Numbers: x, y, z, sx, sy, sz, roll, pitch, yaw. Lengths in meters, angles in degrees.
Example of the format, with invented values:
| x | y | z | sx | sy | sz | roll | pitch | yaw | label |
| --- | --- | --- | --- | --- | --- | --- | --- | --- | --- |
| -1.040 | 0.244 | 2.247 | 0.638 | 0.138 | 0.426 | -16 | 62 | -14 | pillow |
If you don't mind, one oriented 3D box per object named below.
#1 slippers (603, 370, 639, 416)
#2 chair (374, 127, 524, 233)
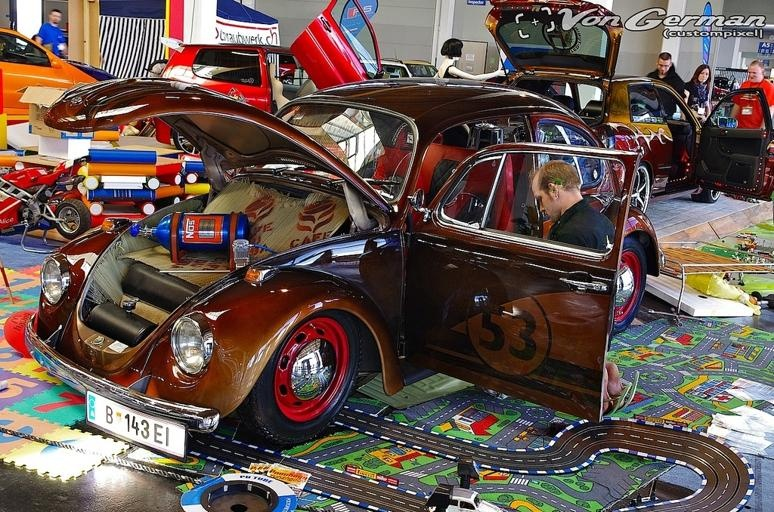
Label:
| x | y | z | sx | sy | sz | roll | pitch | yaw | label |
| --- | --- | --- | --- | --- | --- | --- | --- | --- | --- |
| 1.744 | 1.045 | 3.836 | 0.441 | 0.228 | 0.105 | -4 | 13 | -43 | slippers |
| 0.760 | -0.660 | 3.955 | 1.351 | 0.588 | 0.863 | 2 | 13 | -44 | chair |
